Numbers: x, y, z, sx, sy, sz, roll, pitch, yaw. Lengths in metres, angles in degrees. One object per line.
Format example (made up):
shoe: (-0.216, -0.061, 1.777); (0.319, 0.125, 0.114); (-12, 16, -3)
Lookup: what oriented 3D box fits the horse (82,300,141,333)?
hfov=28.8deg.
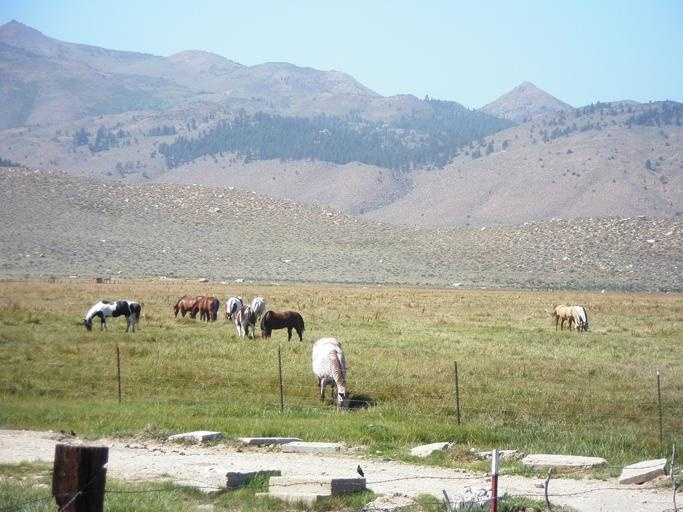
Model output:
horse: (-49.313, 12.824, 286.844); (11.432, 6.846, 4.618); (-1, -6, -6)
